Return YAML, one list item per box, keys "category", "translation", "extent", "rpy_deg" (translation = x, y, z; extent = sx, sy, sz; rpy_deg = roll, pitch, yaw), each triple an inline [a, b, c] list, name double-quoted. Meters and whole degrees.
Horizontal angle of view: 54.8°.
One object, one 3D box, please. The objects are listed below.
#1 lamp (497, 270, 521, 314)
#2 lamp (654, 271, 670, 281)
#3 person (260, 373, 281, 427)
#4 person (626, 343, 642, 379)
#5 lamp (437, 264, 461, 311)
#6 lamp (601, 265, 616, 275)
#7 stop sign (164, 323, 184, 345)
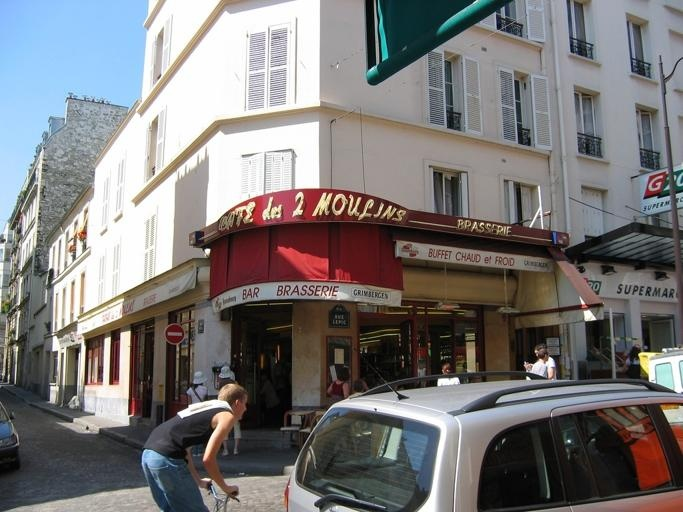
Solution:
- category: "lamp"
  translation: [4.738, 1.159, 18.780]
  extent: [0.549, 1.425, 1.566]
  rpy_deg: [-4, 9, 15]
- category: "lamp"
  translation: [10.191, 0.629, 21.006]
  extent: [0.484, 0.362, 0.275]
  rpy_deg: [5, -11, -27]
- category: "person"
  translation: [-2.011, 4.037, 18.471]
  extent: [0.472, 1.277, 0.765]
  rpy_deg: [-8, 8, -18]
- category: "person"
  translation: [8.232, 3.115, 18.581]
  extent: [0.401, 1.535, 0.426]
  rpy_deg: [-2, 26, 19]
- category: "lamp"
  translation: [2.852, 1.033, 17.972]
  extent: [0.508, 1.354, 1.738]
  rpy_deg: [-5, 9, 8]
- category: "lamp"
  translation: [8.007, 0.393, 19.743]
  extent: [0.619, 0.383, 0.159]
  rpy_deg: [-14, 11, -40]
- category: "stop sign"
  translation: [-4.301, 2.037, 17.021]
  extent: [0.320, 0.557, 0.635]
  rpy_deg: [-6, 8, 4]
